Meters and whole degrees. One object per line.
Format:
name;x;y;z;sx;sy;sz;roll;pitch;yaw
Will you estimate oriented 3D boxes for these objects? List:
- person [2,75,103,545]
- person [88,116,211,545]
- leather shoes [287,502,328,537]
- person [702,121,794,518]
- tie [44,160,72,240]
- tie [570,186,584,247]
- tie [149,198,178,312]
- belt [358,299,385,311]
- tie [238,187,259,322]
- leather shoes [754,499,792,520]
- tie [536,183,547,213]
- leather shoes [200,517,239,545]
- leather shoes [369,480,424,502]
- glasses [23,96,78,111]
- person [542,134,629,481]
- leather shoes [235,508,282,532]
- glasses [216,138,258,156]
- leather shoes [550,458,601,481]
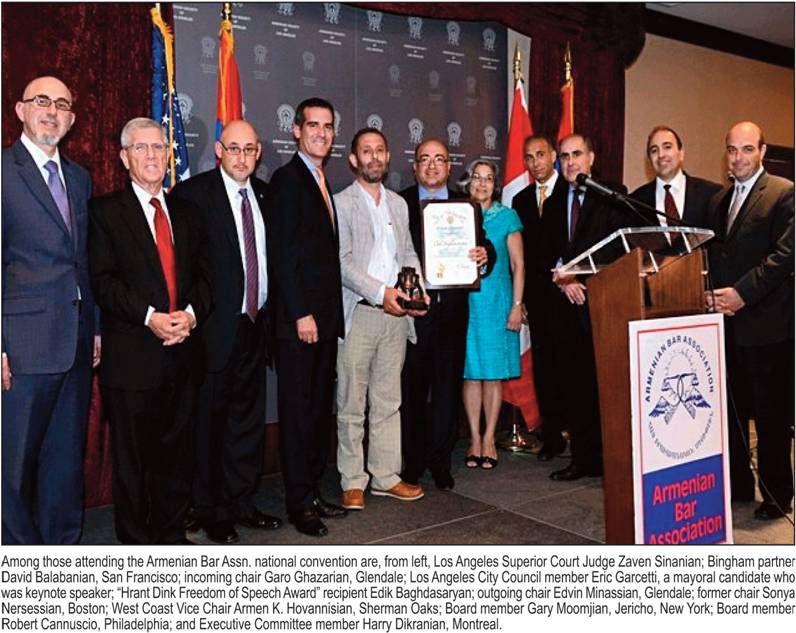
person;-1.758;-0.002;3.381;0.434;2.320;0.227;-2;3;-26
person;-1.250;0.088;3.445;0.563;2.151;0.270;-1;3;-18
leather shoes;-0.503;1.130;3.839;0.264;0.154;0.152;2;4;43
person;2.087;0.011;4.000;0.464;2.282;0.459;1;3;26
tie;-1.681;-0.592;3.367;0.078;0.458;0.054;-7;-29;-24
tie;1.205;-0.689;4.580;0.076;0.349;0.173;0;3;13
tie;-1.179;-0.322;3.434;0.090;0.699;0.093;-2;-23;-28
belt;-0.163;-0.081;4.117;0.088;0.035;0.067;12;-8;45
tie;-0.832;-0.350;3.803;0.089;0.733;0.092;-1;3;-19
leather shoes;2.174;1.116;3.923;0.145;0.056;0.118;-14;42;10
tie;1.082;-0.890;5.021;0.048;0.118;0.396;-19;33;28
leather shoes;-0.996;1.170;3.799;0.096;0.117;0.257;-2;5;-42
leather shoes;-0.001;1.098;4.351;0.298;0.142;0.124;-4;-5;19
glasses;-1.719;-1.032;3.316;0.205;0.066;0.066;-2;3;-20
person;1.245;-0.070;4.601;0.455;2.323;0.563;-1;2;0
leather shoes;-0.790;1.151;3.945;0.287;0.128;0.108;1;8;10
glasses;-0.893;-0.931;3.794;0.218;0.098;0.168;-1;3;-12
leather shoes;1.225;1.037;4.604;0.403;0.202;0.144;0;-2;-6
